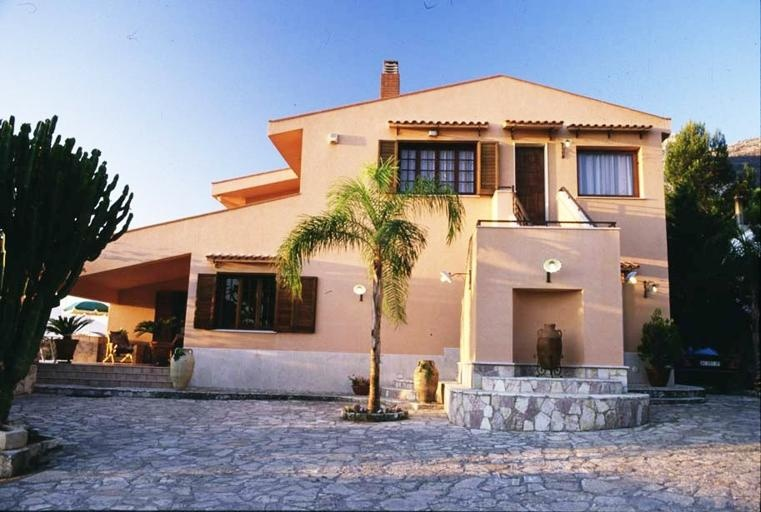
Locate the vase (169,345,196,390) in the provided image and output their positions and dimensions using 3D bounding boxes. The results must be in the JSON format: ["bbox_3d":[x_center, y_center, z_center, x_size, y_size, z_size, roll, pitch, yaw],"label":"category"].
[{"bbox_3d":[-5.714,3.257,17.377,0.633,1.168,0.355,1,-1,-22],"label":"vase"}]

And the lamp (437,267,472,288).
[{"bbox_3d":[2.228,0.613,18.160,0.782,0.398,0.436,1,-4,8],"label":"lamp"}]

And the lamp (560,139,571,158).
[{"bbox_3d":[5.822,-3.350,18.890,0.294,0.568,0.098,0,-1,-4],"label":"lamp"}]

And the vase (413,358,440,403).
[{"bbox_3d":[1.226,3.305,15.833,0.631,1.066,0.421,0,-1,2],"label":"vase"}]

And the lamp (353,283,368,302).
[{"bbox_3d":[-0.612,1.116,18.227,0.407,0.519,0.405,0,-1,-5],"label":"lamp"}]

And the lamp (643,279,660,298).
[{"bbox_3d":[8.011,0.946,17.911,0.386,0.488,0.498,8,-46,18],"label":"lamp"}]

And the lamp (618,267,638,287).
[{"bbox_3d":[7.341,0.622,17.691,0.443,0.518,1.036,0,0,23],"label":"lamp"}]

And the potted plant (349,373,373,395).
[{"bbox_3d":[-0.586,3.771,17.474,0.502,0.353,0.504,3,-9,-16],"label":"potted plant"}]

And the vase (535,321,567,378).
[{"bbox_3d":[4.123,2.307,14.679,0.567,1.279,0.394,0,-1,9],"label":"vase"}]

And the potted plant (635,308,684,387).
[{"bbox_3d":[7.912,2.610,17.049,1.117,2.192,0.689,0,-1,29],"label":"potted plant"}]

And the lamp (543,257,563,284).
[{"bbox_3d":[4.228,0.372,14.928,0.574,0.799,0.503,-2,1,-2],"label":"lamp"}]

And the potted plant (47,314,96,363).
[{"bbox_3d":[-9.879,2.633,18.941,0.923,1.537,1.428,1,-1,-27],"label":"potted plant"}]
